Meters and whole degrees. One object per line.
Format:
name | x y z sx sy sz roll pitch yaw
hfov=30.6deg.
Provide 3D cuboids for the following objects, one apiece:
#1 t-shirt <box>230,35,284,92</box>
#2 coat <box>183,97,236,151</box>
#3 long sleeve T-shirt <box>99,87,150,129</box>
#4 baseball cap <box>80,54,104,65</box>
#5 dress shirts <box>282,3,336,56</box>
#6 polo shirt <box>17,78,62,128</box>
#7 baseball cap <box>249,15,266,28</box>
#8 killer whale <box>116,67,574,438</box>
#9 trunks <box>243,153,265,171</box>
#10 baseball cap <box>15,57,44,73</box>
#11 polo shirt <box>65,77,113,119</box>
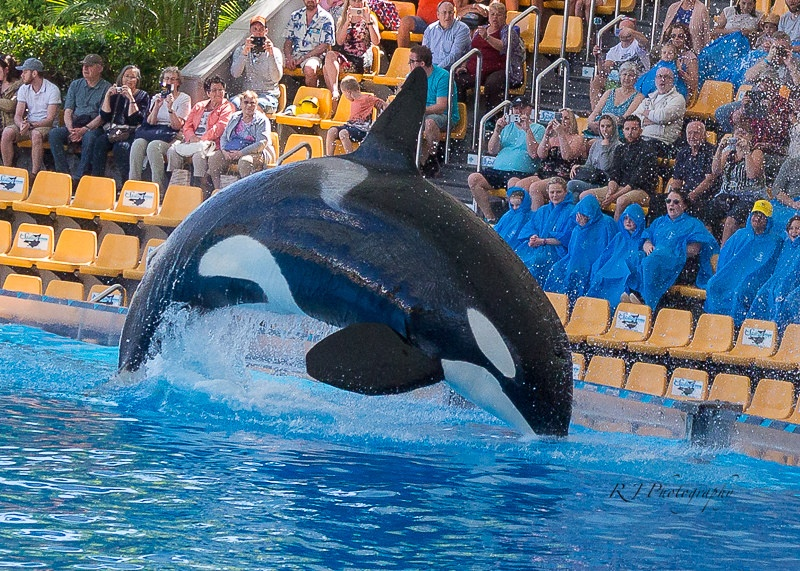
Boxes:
t-shirt | -2.005 -3.015 20.673 0.721 0.838 0.517 4 0 9
coat | -2.616 -2.146 19.941 0.620 0.753 0.409 10 -9 24
long sleeve T-shirt | -3.799 -2.412 20.251 0.544 0.559 0.197 10 2 6
baseball cap | -4.339 -3.176 20.812 0.252 0.133 0.179 8 0 -39
dress shirts | -1.294 -3.638 21.157 0.857 0.819 0.378 4 6 12
polo shirt | -5.147 -2.618 20.947 0.636 0.611 0.266 3 1 9
baseball cap | -2.001 -3.693 20.744 0.301 0.148 0.434 1 5 -2
killer whale | -0.396 -0.275 13.516 5.031 3.120 2.034 19 12 31
trunks | -1.893 -1.593 19.302 0.340 0.247 0.134 -5 18 -31
baseball cap | -5.257 -3.083 20.740 0.412 0.219 0.267 7 18 -1
polo shirt | -4.389 -2.625 20.744 0.645 0.572 0.374 6 15 -13
